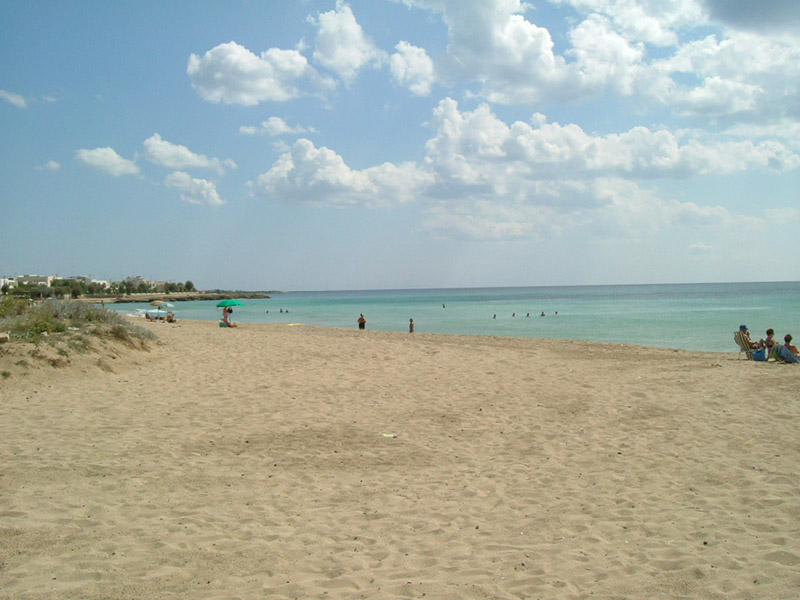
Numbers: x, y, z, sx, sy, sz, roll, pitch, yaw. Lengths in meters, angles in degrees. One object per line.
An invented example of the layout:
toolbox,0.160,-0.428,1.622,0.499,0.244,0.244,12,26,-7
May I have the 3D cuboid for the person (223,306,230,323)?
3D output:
person,-9.106,0.737,37.679,0.307,0.874,0.611,-4,12,-28
